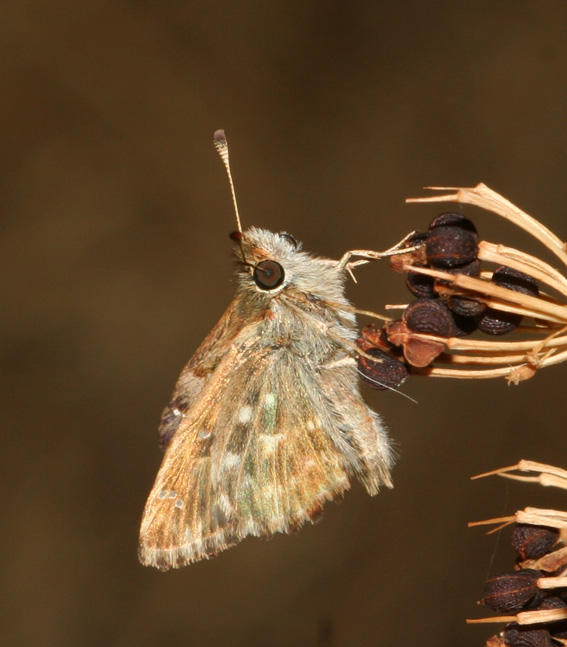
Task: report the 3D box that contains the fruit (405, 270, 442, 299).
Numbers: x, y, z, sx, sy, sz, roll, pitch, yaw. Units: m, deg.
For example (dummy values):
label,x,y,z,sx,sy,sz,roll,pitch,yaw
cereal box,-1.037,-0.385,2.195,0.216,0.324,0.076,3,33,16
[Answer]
label,x,y,z,sx,sy,sz,roll,pitch,yaw
fruit,0.290,-0.081,1.508,0.047,0.044,0.077,-19,-12,0

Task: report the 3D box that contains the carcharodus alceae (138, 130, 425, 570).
label,x,y,z,sx,sy,sz,roll,pitch,yaw
carcharodus alceae,-0.047,0.185,1.960,0.816,0.577,0.396,-24,-12,30

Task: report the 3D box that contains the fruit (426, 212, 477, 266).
label,x,y,z,sx,sy,sz,roll,pitch,yaw
fruit,0.331,-0.157,1.424,0.124,0.099,0.032,0,-8,4

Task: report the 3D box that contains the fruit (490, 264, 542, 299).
label,x,y,z,sx,sy,sz,roll,pitch,yaw
fruit,0.477,-0.086,1.501,0.082,0.056,0.052,-19,-12,9
